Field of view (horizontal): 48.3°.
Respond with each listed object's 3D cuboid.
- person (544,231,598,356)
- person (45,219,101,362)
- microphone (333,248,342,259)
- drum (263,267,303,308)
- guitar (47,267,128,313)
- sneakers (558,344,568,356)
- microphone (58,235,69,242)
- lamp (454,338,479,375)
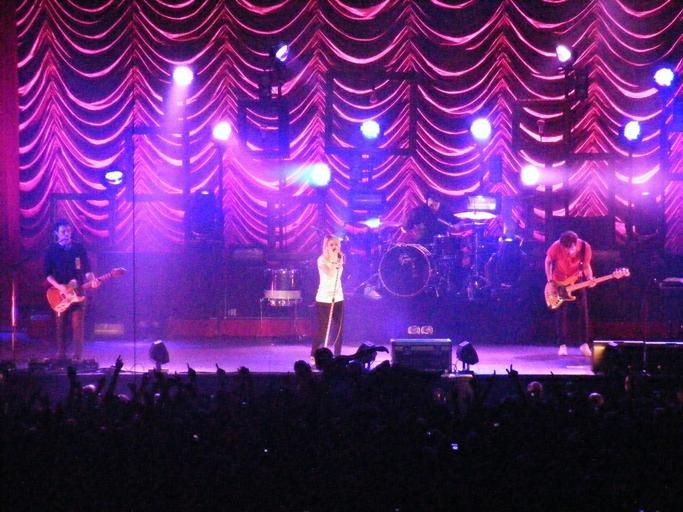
[{"bbox_3d":[3.030,0.530,10.141,0.563,1.610,1.254,-1,-9,16],"label":"person"},{"bbox_3d":[-3.234,0.554,9.138,0.715,1.934,0.632,5,18,1],"label":"person"},{"bbox_3d":[-0.014,-0.028,8.920,0.109,0.110,0.130,-6,-11,38],"label":"microphone"},{"bbox_3d":[-0.879,0.573,11.696,0.596,0.586,0.623,-1,-21,4],"label":"drum"},{"bbox_3d":[-3.277,0.485,9.810,0.749,0.685,1.742,3,-9,-13],"label":"guitar"},{"bbox_3d":[2.845,1.213,9.794,0.084,0.094,0.237,0,-6,2],"label":"sneakers"},{"bbox_3d":[-3.317,-0.232,9.110,0.093,0.115,0.111,1,-7,-19],"label":"microphone"},{"bbox_3d":[1.465,1.133,8.574,0.315,0.468,0.276,-2,5,-12],"label":"lamp"}]
